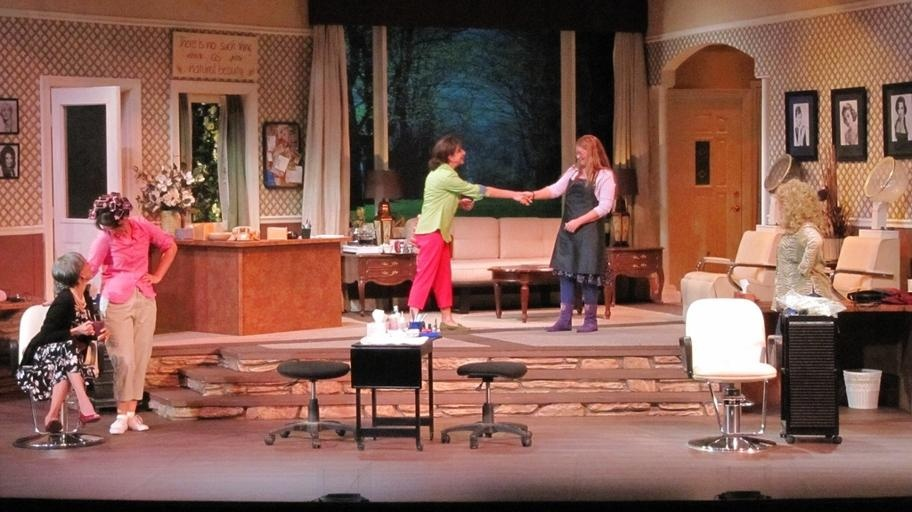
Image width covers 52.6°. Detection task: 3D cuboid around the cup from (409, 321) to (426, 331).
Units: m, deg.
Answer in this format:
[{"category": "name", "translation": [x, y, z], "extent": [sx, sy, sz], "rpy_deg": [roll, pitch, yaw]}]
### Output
[{"category": "cup", "translation": [-0.416, 0.717, 9.572], "extent": [0.154, 0.092, 0.202], "rpy_deg": [-1, 6, -1]}]

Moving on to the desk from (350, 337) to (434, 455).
[{"category": "desk", "translation": [-0.660, 1.351, 9.507], "extent": [0.808, 1.084, 0.831], "rpy_deg": [-1, 6, -4]}]

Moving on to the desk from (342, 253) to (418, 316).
[{"category": "desk", "translation": [-1.125, 0.338, 13.050], "extent": [1.251, 0.827, 0.880], "rpy_deg": [0, 1, -11]}]

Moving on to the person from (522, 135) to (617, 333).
[{"category": "person", "translation": [1.484, -0.267, 11.126], "extent": [0.775, 2.356, 0.387], "rpy_deg": [-1, 7, 6]}]

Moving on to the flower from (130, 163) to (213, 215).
[{"category": "flower", "translation": [-3.943, -0.889, 12.385], "extent": [0.897, 0.579, 0.951], "rpy_deg": [-2, 1, 22]}]

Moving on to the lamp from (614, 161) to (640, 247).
[{"category": "lamp", "translation": [2.508, -0.787, 13.808], "extent": [0.345, 1.250, 0.717], "rpy_deg": [0, 6, 10]}]

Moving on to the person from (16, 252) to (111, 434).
[{"category": "person", "translation": [-3.982, 0.862, 9.429], "extent": [0.861, 1.795, 0.464], "rpy_deg": [0, 7, 12]}]

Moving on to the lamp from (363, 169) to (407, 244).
[{"category": "lamp", "translation": [-1.050, -0.734, 13.331], "extent": [0.492, 1.055, 0.742], "rpy_deg": [-1, 6, 0]}]

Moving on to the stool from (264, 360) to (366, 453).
[{"category": "stool", "translation": [-1.468, 1.504, 9.534], "extent": [0.967, 0.695, 0.890], "rpy_deg": [0, -1, -1]}]

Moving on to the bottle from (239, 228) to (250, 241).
[{"category": "bottle", "translation": [-2.652, -0.279, 11.406], "extent": [0.177, 0.137, 0.163], "rpy_deg": [0, 2, 0]}]

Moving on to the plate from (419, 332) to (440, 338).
[{"category": "plate", "translation": [-0.278, 0.806, 9.479], "extent": [0.224, 0.053, 0.098], "rpy_deg": [-3, 6, -25]}]

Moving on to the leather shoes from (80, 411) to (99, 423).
[{"category": "leather shoes", "translation": [-3.706, 1.631, 9.334], "extent": [0.152, 0.136, 0.261], "rpy_deg": [-4, 7, -26]}]

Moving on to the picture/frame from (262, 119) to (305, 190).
[{"category": "picture/frame", "translation": [-2.564, -1.504, 13.615], "extent": [0.603, 0.985, 0.127], "rpy_deg": [-3, 7, -13]}]

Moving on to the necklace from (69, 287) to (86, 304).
[{"category": "necklace", "translation": [-3.854, 0.392, 9.385], "extent": [0.146, 0.161, 0.065], "rpy_deg": [-1, 6, -20]}]

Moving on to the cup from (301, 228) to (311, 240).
[{"category": "cup", "translation": [-1.882, -0.282, 11.607], "extent": [0.141, 0.128, 0.131], "rpy_deg": [1, 3, 0]}]

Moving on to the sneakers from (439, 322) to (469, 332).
[{"category": "sneakers", "translation": [-0.044, 0.866, 11.416], "extent": [0.372, 0.099, 0.120], "rpy_deg": [1, 1, -3]}]

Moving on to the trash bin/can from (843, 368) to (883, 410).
[{"category": "trash bin/can", "translation": [4.552, 1.504, 10.406], "extent": [0.484, 0.411, 0.453], "rpy_deg": [0, -4, -1]}]

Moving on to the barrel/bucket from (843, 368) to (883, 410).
[{"category": "barrel/bucket", "translation": [4.542, 1.498, 10.408], "extent": [0.484, 0.411, 0.453], "rpy_deg": [0, -4, 0]}]
